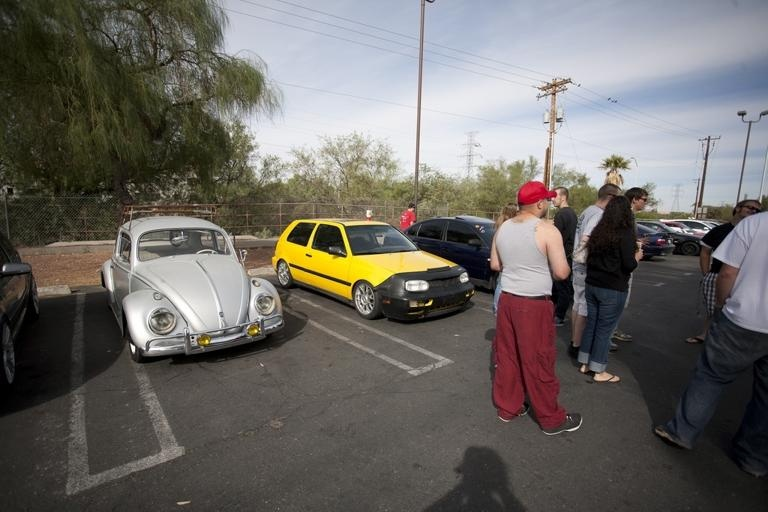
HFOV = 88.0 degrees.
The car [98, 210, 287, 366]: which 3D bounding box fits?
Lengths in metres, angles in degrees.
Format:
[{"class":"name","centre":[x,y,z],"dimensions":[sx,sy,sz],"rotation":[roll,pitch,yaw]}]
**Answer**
[{"class":"car","centre":[-3.514,0.399,6.822],"dimensions":[1.836,1.478,3.287],"rotation":[-5,14,-35]}]

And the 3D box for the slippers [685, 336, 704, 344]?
[{"class":"slippers","centre":[5.497,1.501,7.003],"dimensions":[0.312,0.079,0.119],"rotation":[-2,35,12]}]

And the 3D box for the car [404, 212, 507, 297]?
[{"class":"car","centre":[1.735,-0.231,10.320],"dimensions":[1.240,1.062,2.660],"rotation":[-4,7,-43]}]

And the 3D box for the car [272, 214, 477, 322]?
[{"class":"car","centre":[-0.491,0.206,8.666],"dimensions":[1.925,1.457,4.124],"rotation":[-8,13,-42]}]

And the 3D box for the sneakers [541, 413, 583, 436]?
[{"class":"sneakers","centre":[2.129,2.018,4.768],"dimensions":[0.432,0.191,0.228],"rotation":[-18,22,-7]}]

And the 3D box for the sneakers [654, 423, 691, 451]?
[{"class":"sneakers","centre":[3.275,2.061,4.538],"dimensions":[0.198,0.128,0.318],"rotation":[-4,20,-31]}]

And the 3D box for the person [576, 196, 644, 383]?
[{"class":"person","centre":[3.061,0.442,5.445],"dimensions":[0.576,2.429,0.379],"rotation":[5,13,23]}]

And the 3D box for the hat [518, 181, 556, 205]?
[{"class":"hat","centre":[1.757,-0.718,4.668],"dimensions":[0.318,0.286,0.559],"rotation":[6,14,26]}]
